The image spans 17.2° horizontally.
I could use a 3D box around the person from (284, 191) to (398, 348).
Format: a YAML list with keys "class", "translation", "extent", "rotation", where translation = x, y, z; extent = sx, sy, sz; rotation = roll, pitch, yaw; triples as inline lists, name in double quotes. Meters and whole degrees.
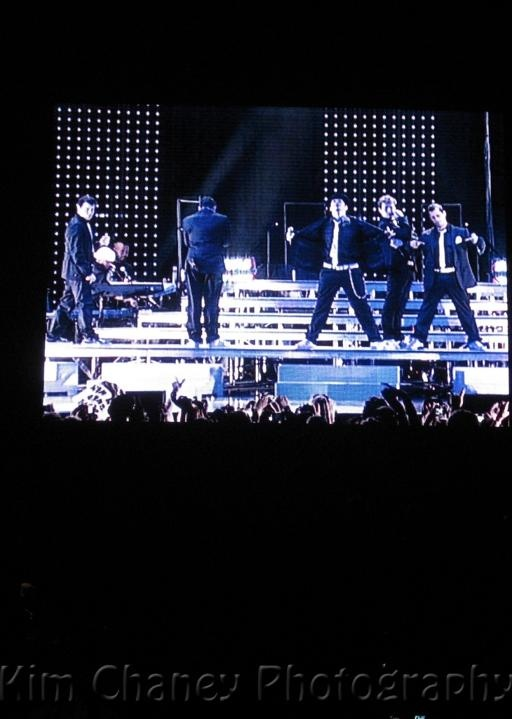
- class: "person"
  translation: [0.361, -0.366, 7.446]
  extent: [0.389, 0.889, 0.309]
  rotation: [-1, -15, 7]
